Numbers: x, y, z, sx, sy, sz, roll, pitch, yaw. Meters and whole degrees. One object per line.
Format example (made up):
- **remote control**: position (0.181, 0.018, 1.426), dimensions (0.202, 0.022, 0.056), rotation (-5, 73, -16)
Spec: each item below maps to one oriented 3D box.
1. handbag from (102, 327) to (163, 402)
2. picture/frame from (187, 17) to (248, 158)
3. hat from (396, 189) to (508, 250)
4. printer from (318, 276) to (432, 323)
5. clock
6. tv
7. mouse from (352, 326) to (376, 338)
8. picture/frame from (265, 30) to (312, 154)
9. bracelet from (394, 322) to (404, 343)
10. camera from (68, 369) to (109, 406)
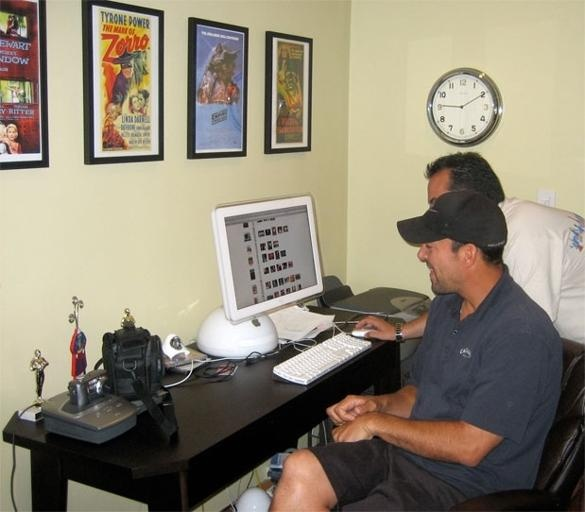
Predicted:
- **handbag**: position (-0.516, 0.346, 1.628), dimensions (0.172, 0.246, 0.215), rotation (1, 1, -24)
- **picture/frame**: position (-0.336, -0.744, 2.310), dimensions (0.056, 0.581, 0.407), rotation (5, 14, 35)
- **hat**: position (0.512, -0.108, 1.613), dimensions (0.362, 0.185, 0.247), rotation (13, 3, 19)
- **printer**: position (0.440, 0.237, 2.791), dimensions (0.398, 0.191, 0.298), rotation (11, 18, 37)
- **clock**: position (0.955, -0.838, 2.878), dimensions (0.395, 0.412, 0.055), rotation (10, 36, 30)
- **tv**: position (-0.181, 0.061, 2.137), dimensions (0.335, 0.653, 0.632), rotation (10, 13, 33)
- **mouse**: position (0.294, 0.331, 2.230), dimensions (0.068, 0.025, 0.038), rotation (-7, 12, 14)
- **picture/frame**: position (-0.020, -0.860, 2.728), dimensions (0.060, 0.604, 0.418), rotation (4, 14, 35)
- **bracelet**: position (0.457, 0.330, 2.195), dimensions (0.039, 0.066, 0.062), rotation (-3, -9, 12)
- **camera**: position (-0.589, 0.391, 1.496), dimensions (0.043, 0.087, 0.136), rotation (1, 6, 17)
